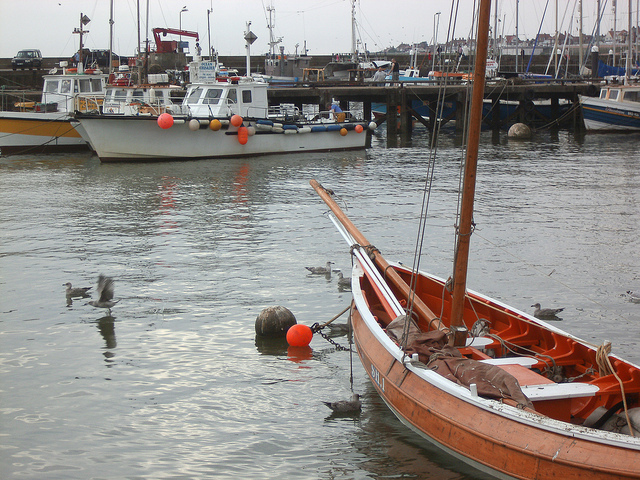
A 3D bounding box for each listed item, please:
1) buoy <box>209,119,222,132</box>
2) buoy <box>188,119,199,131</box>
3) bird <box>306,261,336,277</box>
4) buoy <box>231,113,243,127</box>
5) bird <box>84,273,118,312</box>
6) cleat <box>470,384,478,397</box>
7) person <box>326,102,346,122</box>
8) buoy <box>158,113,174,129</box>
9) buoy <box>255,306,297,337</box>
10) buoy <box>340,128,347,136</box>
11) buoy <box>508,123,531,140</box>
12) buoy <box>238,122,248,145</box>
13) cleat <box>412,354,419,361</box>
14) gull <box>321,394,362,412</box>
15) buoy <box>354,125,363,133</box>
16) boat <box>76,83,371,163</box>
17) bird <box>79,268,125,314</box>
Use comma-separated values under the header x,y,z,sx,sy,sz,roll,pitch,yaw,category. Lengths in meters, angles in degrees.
x,y,z,sx,sy,sz,roll,pitch,yaw,category
-3.560,-3.962,33.336,0.378,0.384,0.476,-2,11,-3,buoy
-4.175,-3.882,32.697,0.410,0.318,0.340,6,24,15,buoy
0.035,0.610,18.885,0.548,0.261,0.219,0,3,4,bird
-2.828,-4.194,33.833,0.419,0.397,0.333,5,54,9,buoy
-3.668,0.928,16.836,0.625,0.573,0.732,2,2,-23,bird
2.027,1.984,12.732,0.095,0.154,0.152,-1,11,4,cleat
0.706,-5.167,39.198,0.477,0.418,1.540,7,20,-15,person
-5.043,-3.899,31.935,0.570,0.433,0.477,0,12,2,buoy
-0.719,1.319,16.365,0.832,0.385,0.717,-4,13,10,buoy
0.947,-4.189,37.677,0.273,0.232,0.245,22,50,19,buoy
9.176,-4.947,44.534,1.043,0.774,0.504,4,2,14,buoy
-2.691,-3.767,34.361,0.347,0.750,0.450,-3,12,-6,buoy
1.318,1.652,13.416,0.092,0.123,0.079,-1,10,1,cleat
0.320,2.403,14.047,0.595,0.250,0.184,-1,2,-1,gull
1.516,-4.377,38.177,0.289,0.260,0.266,-4,41,40,buoy
-2.610,-4.194,35.128,11.115,2.054,3.255,-1,3,-30,boat
-3.715,1.021,17.050,0.653,0.507,0.840,-6,3,-22,bird
